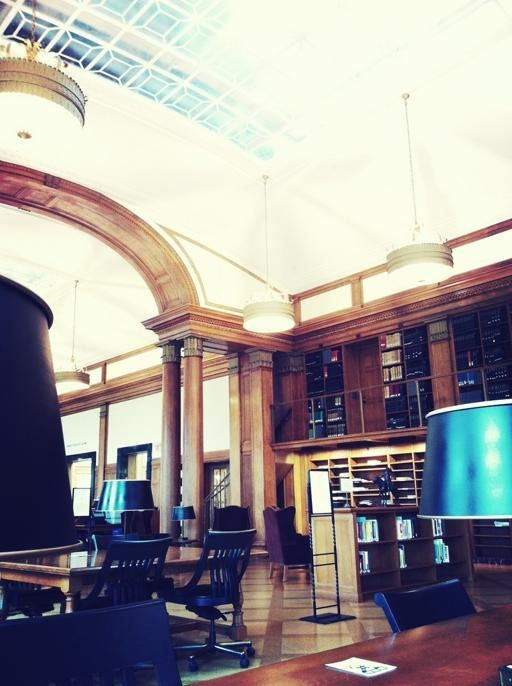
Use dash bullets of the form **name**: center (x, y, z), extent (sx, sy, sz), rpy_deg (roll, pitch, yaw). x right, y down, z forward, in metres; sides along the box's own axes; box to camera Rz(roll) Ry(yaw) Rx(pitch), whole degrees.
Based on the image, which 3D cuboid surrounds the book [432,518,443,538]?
- **book**: center (2.318, 2.349, 6.770), extent (0.103, 0.206, 0.645), rpy_deg (-8, -11, 20)

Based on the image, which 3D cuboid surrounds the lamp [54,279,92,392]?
- **lamp**: center (-4.425, 0.023, 12.804), extent (0.639, 2.314, 3.673), rpy_deg (0, -11, -20)

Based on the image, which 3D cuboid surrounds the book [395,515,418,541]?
- **book**: center (1.807, 2.231, 6.374), extent (0.210, 0.256, 0.728), rpy_deg (-7, -10, 16)

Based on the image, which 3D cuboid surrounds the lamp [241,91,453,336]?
- **lamp**: center (1.406, -1.992, 7.888), extent (2.338, 2.270, 0.620), rpy_deg (-20, -30, 41)

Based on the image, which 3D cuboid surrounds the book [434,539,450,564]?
- **book**: center (2.286, 2.587, 6.566), extent (0.183, 0.295, 0.306), rpy_deg (-10, -15, 43)
